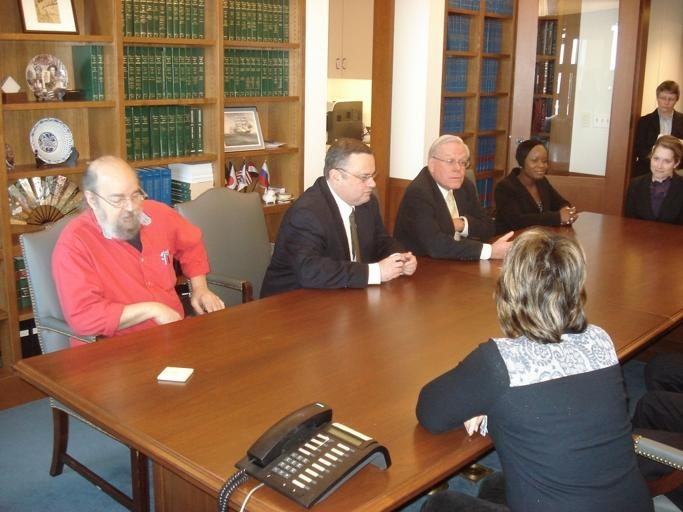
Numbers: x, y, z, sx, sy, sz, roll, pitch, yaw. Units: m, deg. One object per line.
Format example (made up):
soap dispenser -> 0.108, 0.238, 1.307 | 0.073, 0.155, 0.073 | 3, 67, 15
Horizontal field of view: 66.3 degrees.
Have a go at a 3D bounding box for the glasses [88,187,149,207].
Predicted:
glasses -> -1.020, -0.287, 2.473 | 0.146, 0.081, 0.257 | 11, 23, 41

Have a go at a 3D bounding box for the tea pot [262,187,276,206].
tea pot -> -0.603, -0.508, 4.395 | 0.106, 0.142, 0.048 | 2, -1, -9

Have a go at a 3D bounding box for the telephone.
telephone -> -0.058, 0.436, 1.278 | 0.224, 0.093, 0.235 | 18, 27, 38

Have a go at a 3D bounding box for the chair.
chair -> -0.919, 0.307, 3.421 | 1.391, 2.009, 1.534 | -12, 17, -41

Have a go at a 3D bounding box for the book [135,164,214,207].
book -> -1.206, -0.552, 3.811 | 0.371, 0.163, 0.485 | 17, 22, 39

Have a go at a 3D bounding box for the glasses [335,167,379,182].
glasses -> 0.104, -0.451, 2.849 | 0.243, 0.089, 0.101 | -14, 19, -27

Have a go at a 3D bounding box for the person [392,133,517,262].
person -> 0.723, -0.376, 3.487 | 0.656, 0.800, 0.864 | -2, 16, -5

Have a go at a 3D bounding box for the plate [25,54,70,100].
plate -> -1.829, -1.078, 3.272 | 0.074, 0.293, 0.329 | 38, 35, 10

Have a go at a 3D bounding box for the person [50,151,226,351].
person -> -1.043, -0.017, 2.632 | 0.522, 1.022, 0.625 | 20, 42, 27

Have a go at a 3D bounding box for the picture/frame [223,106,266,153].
picture/frame -> -0.791, -1.014, 4.184 | 0.035, 0.403, 0.460 | -21, -8, 43

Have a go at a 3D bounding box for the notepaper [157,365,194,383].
notepaper -> -0.554, 0.391, 1.751 | 0.109, 0.022, 0.099 | -3, 17, 5
